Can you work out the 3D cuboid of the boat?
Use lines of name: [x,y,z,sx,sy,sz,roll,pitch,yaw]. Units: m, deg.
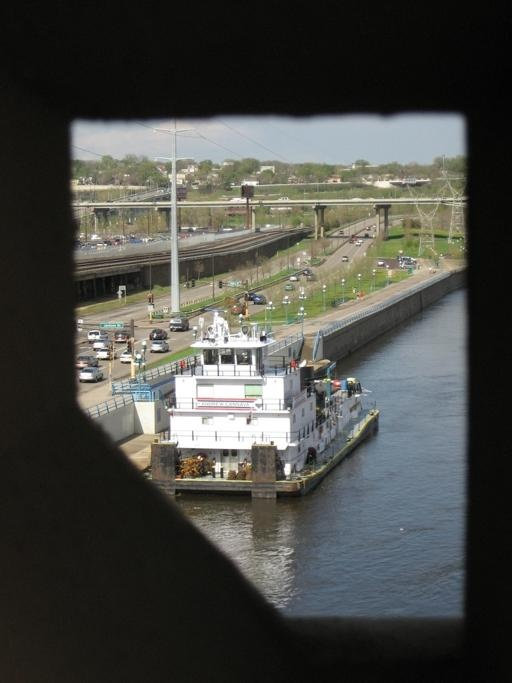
boat: [0.152,0.675,13.390,1.348,1.911,3.987,1,7,14]
